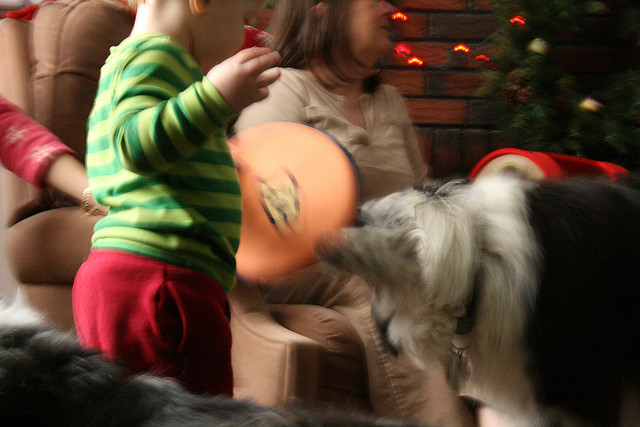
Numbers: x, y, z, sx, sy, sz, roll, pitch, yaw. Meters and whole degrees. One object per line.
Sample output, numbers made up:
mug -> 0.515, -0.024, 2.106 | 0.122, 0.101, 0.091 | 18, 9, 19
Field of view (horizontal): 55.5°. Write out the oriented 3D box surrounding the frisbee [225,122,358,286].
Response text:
frisbee -> -0.002, 0.000, 0.696 | 0.160, 0.162, 0.098 | -33, -22, 20
